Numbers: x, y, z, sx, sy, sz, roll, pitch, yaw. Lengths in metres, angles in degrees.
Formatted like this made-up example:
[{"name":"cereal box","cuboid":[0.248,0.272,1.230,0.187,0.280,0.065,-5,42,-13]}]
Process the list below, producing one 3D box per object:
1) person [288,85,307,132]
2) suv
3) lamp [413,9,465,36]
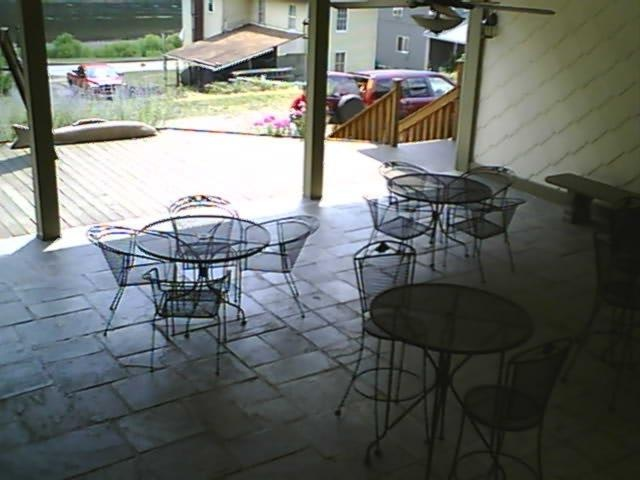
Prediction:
[{"name":"person","cuboid":[-0.453,-2.515,10.356,0.286,0.962,0.367,-1,28,-3]},{"name":"suv","cuboid":[1.152,-3.172,11.336,3.176,0.865,1.411,-18,22,-8]},{"name":"lamp","cuboid":[0.969,-1.805,4.375,0.311,0.119,0.271,7,7,-9]}]
